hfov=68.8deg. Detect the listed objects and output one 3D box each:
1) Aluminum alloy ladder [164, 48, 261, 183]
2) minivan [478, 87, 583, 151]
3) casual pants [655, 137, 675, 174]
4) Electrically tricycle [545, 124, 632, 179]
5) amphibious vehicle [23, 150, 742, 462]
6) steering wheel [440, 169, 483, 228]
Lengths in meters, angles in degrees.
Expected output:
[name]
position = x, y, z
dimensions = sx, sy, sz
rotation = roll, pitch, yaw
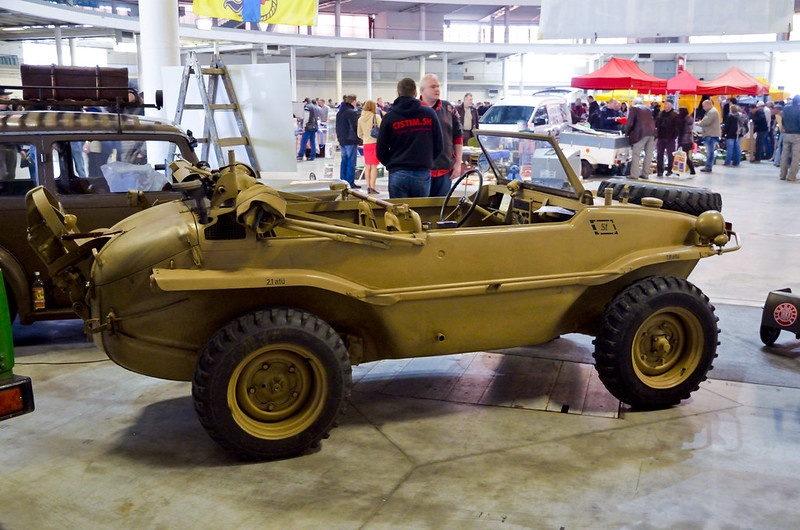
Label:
[Aluminum alloy ladder]
position = -2.885, -2.263, 8.911
dimensions = 1.443, 1.629, 1.470
rotation = -12, 21, -37
[minivan]
position = 4.326, -4.867, 20.139
dimensions = 1.987, 1.807, 3.537
rotation = 17, 25, 37
[casual pants]
position = 8.132, -3.422, 18.052
dimensions = 0.594, 1.241, 0.374
rotation = 9, -24, 4
[Electrically tricycle]
position = 5.526, -3.346, 17.074
dimensions = 2.184, 1.632, 2.517
rotation = -5, 14, -26
[amphibious vehicle]
position = -0.190, 0.395, 4.553
dimensions = 5.344, 2.219, 1.673
rotation = 0, -5, -5
[steering wheel]
position = 0.585, -0.606, 5.527
dimensions = 0.069, 0.660, 0.683
rotation = 21, -20, -20
